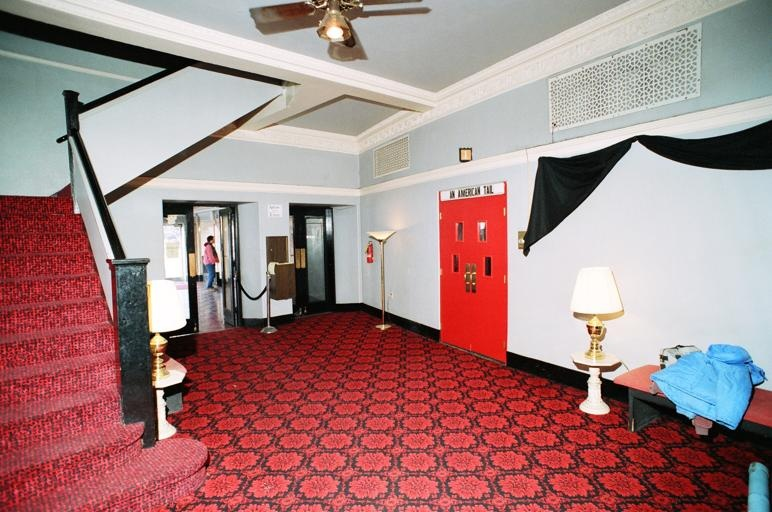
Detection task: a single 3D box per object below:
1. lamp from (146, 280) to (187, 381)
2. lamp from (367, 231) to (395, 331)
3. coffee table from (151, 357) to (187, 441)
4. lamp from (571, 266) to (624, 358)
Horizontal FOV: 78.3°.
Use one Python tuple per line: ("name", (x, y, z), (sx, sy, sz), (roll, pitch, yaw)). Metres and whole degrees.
("lamp", (-2.674, 0.881, 5.796), (0.410, 1.216, 0.578), (-7, 11, -28))
("lamp", (-0.050, 0.446, 9.680), (0.503, 1.954, 0.786), (-2, 10, -3))
("coffee table", (-2.860, 1.781, 5.923), (0.612, 0.821, 0.721), (-1, 4, -27))
("lamp", (2.778, 0.722, 6.236), (0.608, 1.183, 0.674), (4, 11, 27))
